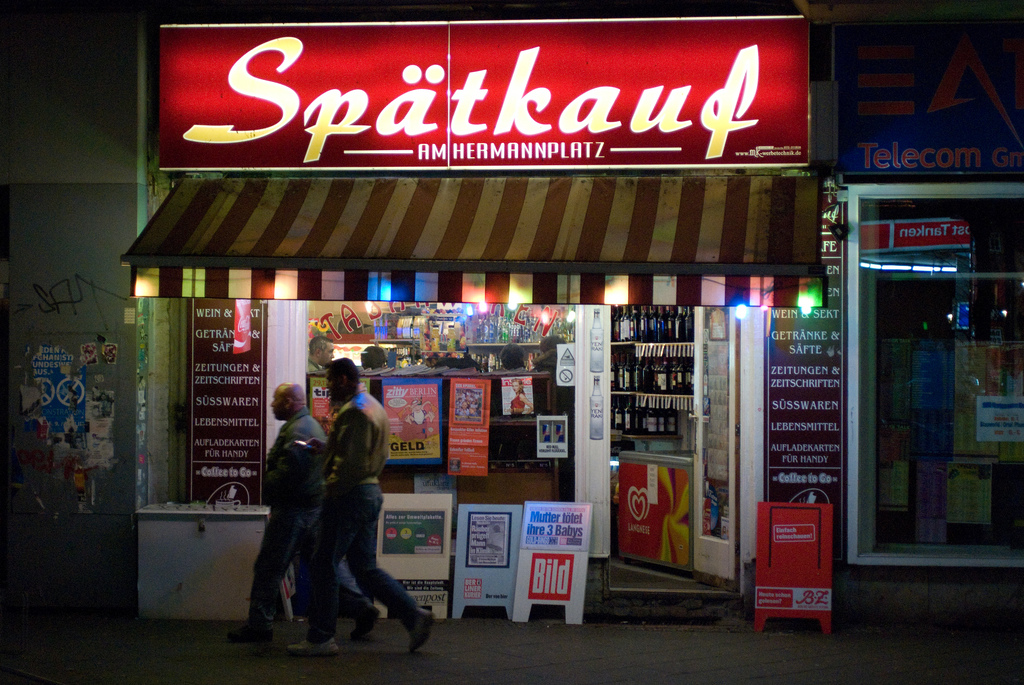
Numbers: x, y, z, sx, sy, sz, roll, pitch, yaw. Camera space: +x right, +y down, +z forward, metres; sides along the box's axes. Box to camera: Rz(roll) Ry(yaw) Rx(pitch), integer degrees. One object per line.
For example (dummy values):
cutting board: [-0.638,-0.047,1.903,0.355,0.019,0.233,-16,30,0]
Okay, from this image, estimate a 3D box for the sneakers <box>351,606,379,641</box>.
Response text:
sneakers: [-1.385,2.659,11.537,0.089,0.267,0.188,26,16,-7]

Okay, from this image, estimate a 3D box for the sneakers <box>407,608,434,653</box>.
sneakers: [-0.821,2.606,11.064,0.205,0.446,0.164,5,6,4]

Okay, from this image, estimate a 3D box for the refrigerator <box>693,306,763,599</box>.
refrigerator: [2.210,1.010,12.755,0.525,2.882,1.659,-2,13,-10]

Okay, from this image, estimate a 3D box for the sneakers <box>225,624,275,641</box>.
sneakers: [-2.409,2.709,11.257,0.398,0.166,0.157,4,-3,0]

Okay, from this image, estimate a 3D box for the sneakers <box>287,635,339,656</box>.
sneakers: [-1.773,2.756,11.044,0.464,0.197,0.167,3,-4,0]

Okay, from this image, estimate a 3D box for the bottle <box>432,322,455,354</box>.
bottle: [-0.711,-0.047,12.834,0.241,0.313,0.112,-1,13,-6]

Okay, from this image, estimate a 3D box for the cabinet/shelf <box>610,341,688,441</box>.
cabinet/shelf: [1.638,0.579,14.790,1.023,1.309,0.465,3,24,16]
